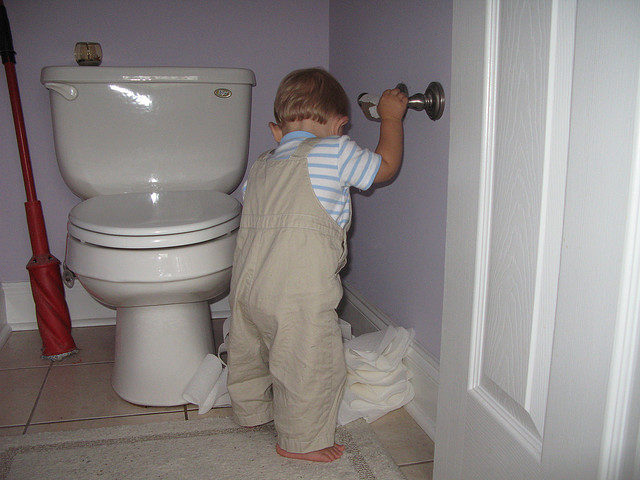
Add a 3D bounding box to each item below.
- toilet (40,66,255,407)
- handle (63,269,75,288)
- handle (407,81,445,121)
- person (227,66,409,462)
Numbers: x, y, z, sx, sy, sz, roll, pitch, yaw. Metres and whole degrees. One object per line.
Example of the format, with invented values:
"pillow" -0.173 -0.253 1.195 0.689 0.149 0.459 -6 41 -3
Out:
"toilet" -0.466 -0.044 1.585 0.601 0.944 0.660 -6 18 -30
"handle" -0.780 0.116 1.600 0.019 0.076 0.069 -11 21 -29
"handle" 0.242 -0.319 1.198 0.070 0.097 0.090 -10 14 -23
"person" -0.018 0.035 1.262 0.333 0.864 0.351 10 17 36
